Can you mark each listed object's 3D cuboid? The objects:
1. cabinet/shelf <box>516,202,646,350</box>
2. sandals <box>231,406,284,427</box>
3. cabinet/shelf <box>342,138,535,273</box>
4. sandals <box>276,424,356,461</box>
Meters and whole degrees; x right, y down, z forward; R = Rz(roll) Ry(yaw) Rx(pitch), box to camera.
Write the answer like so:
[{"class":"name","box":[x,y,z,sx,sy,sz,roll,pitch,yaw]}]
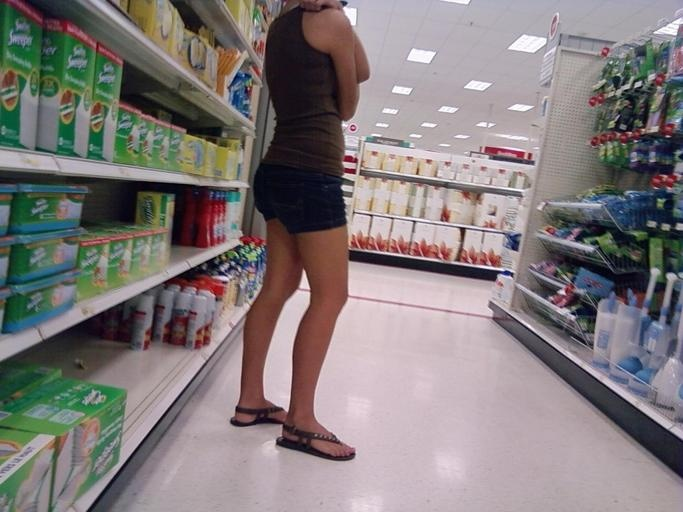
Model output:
[{"class":"cabinet/shelf","box":[1.931,0.061,3.281,0.538,0.987,1.064,2,7,4]},{"class":"sandals","box":[-0.370,0.709,1.814,0.249,0.067,0.095,2,3,-25]},{"class":"cabinet/shelf","box":[1.565,-0.827,6.929,3.004,1.733,1.012,6,5,-8]},{"class":"sandals","box":[-0.102,0.718,1.633,0.290,0.071,0.132,7,6,14]}]
